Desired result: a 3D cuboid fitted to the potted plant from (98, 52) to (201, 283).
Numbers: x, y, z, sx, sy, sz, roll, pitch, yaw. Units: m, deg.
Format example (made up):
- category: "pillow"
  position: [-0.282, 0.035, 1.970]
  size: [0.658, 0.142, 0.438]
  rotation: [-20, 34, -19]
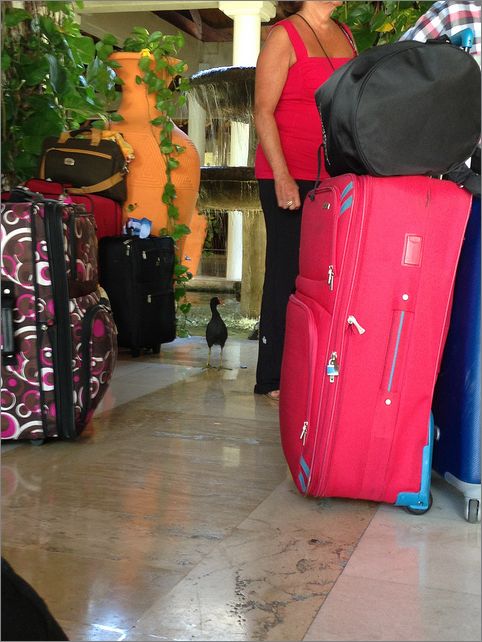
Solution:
- category: "potted plant"
  position: [-0.454, -0.838, 3.104]
  size: [0.587, 1.137, 0.380]
  rotation: [6, 9, 22]
